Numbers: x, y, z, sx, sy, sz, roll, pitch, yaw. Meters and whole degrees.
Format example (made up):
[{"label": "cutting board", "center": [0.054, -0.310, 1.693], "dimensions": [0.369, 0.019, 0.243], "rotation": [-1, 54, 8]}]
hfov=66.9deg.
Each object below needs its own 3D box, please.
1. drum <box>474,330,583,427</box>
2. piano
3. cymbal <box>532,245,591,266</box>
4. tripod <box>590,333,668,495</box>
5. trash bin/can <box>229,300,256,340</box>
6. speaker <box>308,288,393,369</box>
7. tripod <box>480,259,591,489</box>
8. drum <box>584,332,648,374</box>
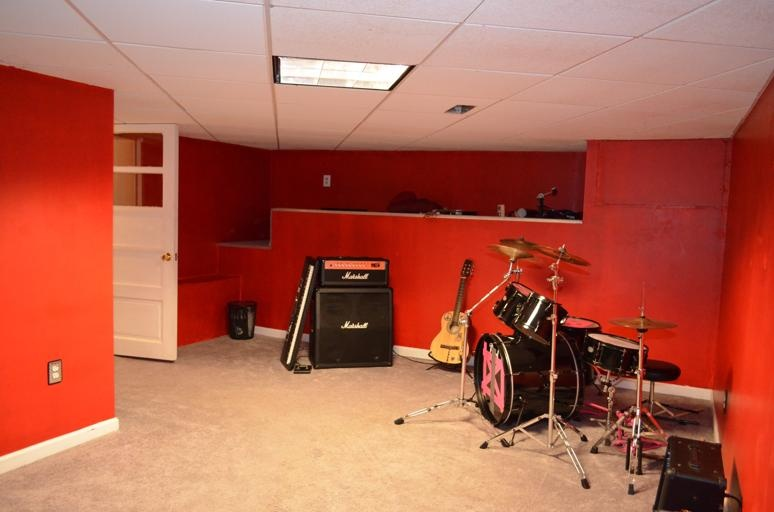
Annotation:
[{"label": "drum", "center": [1.291, 1.028, 5.397], "dimensions": [0.846, 0.898, 0.961], "rotation": [-1, 10, -25]}, {"label": "piano", "center": [-0.991, 0.658, 6.613], "dimensions": [0.421, 1.221, 0.759], "rotation": [0, 15, -7]}, {"label": "cymbal", "center": [1.480, -0.006, 4.947], "dimensions": [0.346, 0.084, 0.332], "rotation": [15, 19, 16]}, {"label": "tripod", "center": [1.985, 1.123, 4.886], "dimensions": [0.708, 1.146, 0.996], "rotation": [9, 16, 26]}, {"label": "trash bin/can", "center": [-1.839, 0.827, 7.444], "dimensions": [0.486, 0.432, 0.443], "rotation": [-1, -4, 8]}, {"label": "speaker", "center": [-0.477, 0.795, 7.035], "dimensions": [1.240, 1.092, 0.848], "rotation": [1, -2, -9]}, {"label": "tripod", "center": [1.412, 0.863, 4.942], "dimensions": [0.889, 1.588, 0.976], "rotation": [9, 16, 25]}, {"label": "drum", "center": [1.993, 0.813, 4.993], "dimensions": [0.425, 0.184, 0.412], "rotation": [10, 12, -2]}]
